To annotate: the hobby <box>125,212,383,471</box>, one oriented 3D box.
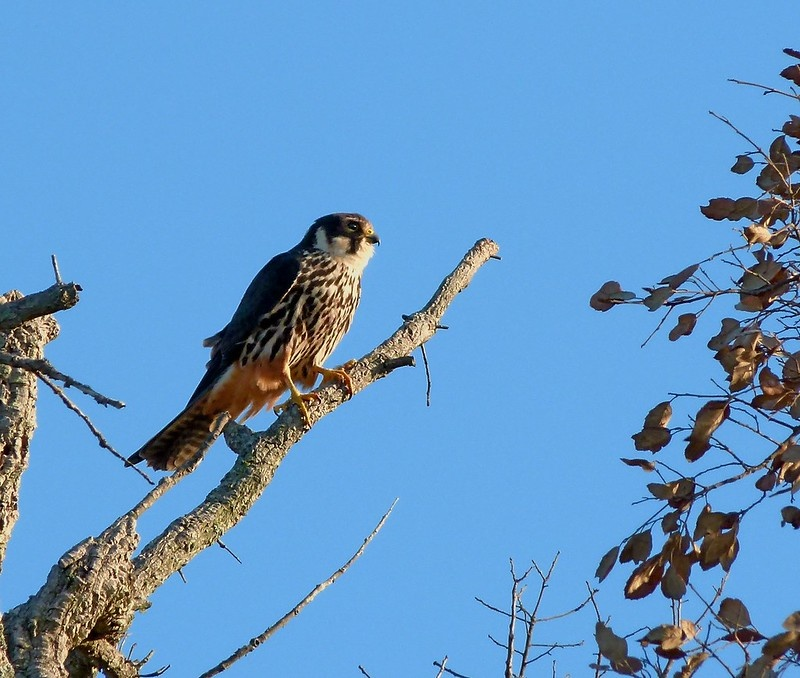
[{"bbox_3d":[-0.788,-0.051,10.209,1.494,1.373,0.703,-9,-20,19],"label":"hobby"}]
